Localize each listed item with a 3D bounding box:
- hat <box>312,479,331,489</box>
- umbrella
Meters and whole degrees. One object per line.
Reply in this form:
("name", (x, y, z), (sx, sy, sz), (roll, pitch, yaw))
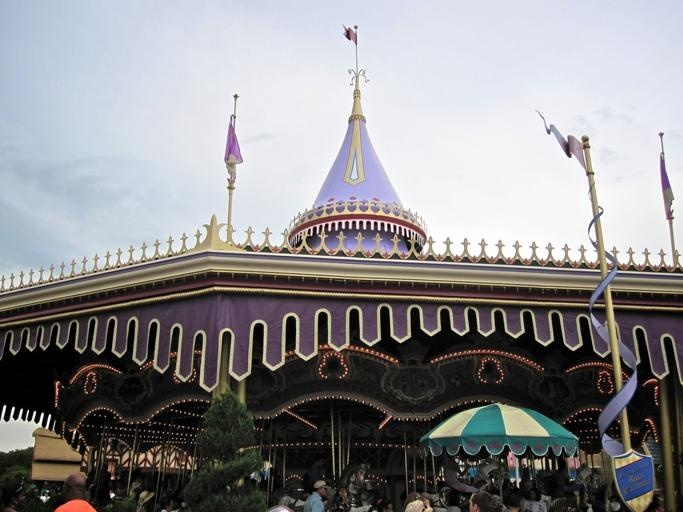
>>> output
("hat", (-0.427, 4.757, 16.289), (0.173, 0.108, 0.239), (-1, -5, 40))
("umbrella", (3.149, 3.663, 15.870), (2.855, 0.890, 1.057), (2, 14, 7))
